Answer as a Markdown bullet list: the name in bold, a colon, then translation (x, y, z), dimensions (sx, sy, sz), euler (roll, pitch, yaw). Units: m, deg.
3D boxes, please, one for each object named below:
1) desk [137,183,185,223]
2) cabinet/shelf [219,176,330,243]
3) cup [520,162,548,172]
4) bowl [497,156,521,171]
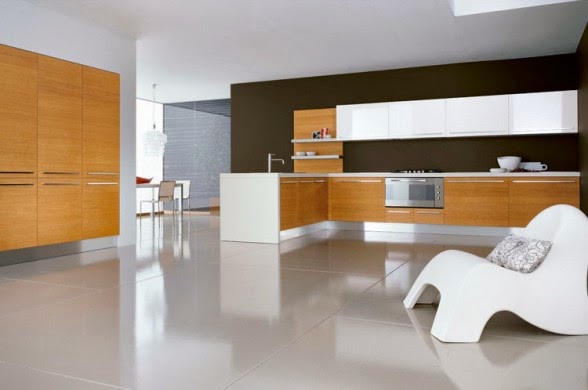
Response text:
- **desk**: translation (-3.372, 0.207, 9.854), dimensions (0.797, 1.545, 1.101), euler (-3, -9, 16)
- **cabinet/shelf**: translation (-0.221, 0.165, 6.784), dimensions (1.954, 1.132, 0.918), euler (-4, 6, -42)
- **cup**: translation (4.426, -0.523, 7.167), dimensions (0.320, 0.114, 0.242), euler (2, 0, 34)
- **bowl**: translation (3.941, -0.588, 7.107), dimensions (0.309, 0.221, 0.312), euler (1, -3, 0)
